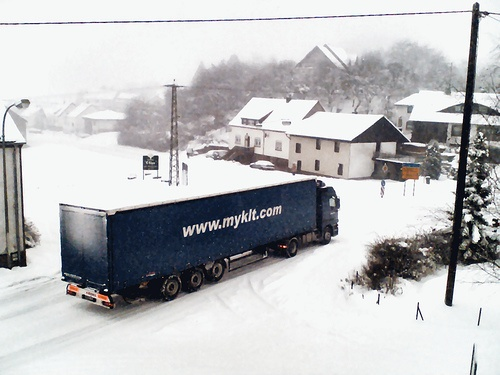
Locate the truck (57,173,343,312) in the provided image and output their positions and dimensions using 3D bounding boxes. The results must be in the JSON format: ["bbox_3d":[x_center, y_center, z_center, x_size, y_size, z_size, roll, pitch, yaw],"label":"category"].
[{"bbox_3d":[-1.125,2.075,25.951,3.663,5.225,16.319,5,11,44],"label":"truck"}]
